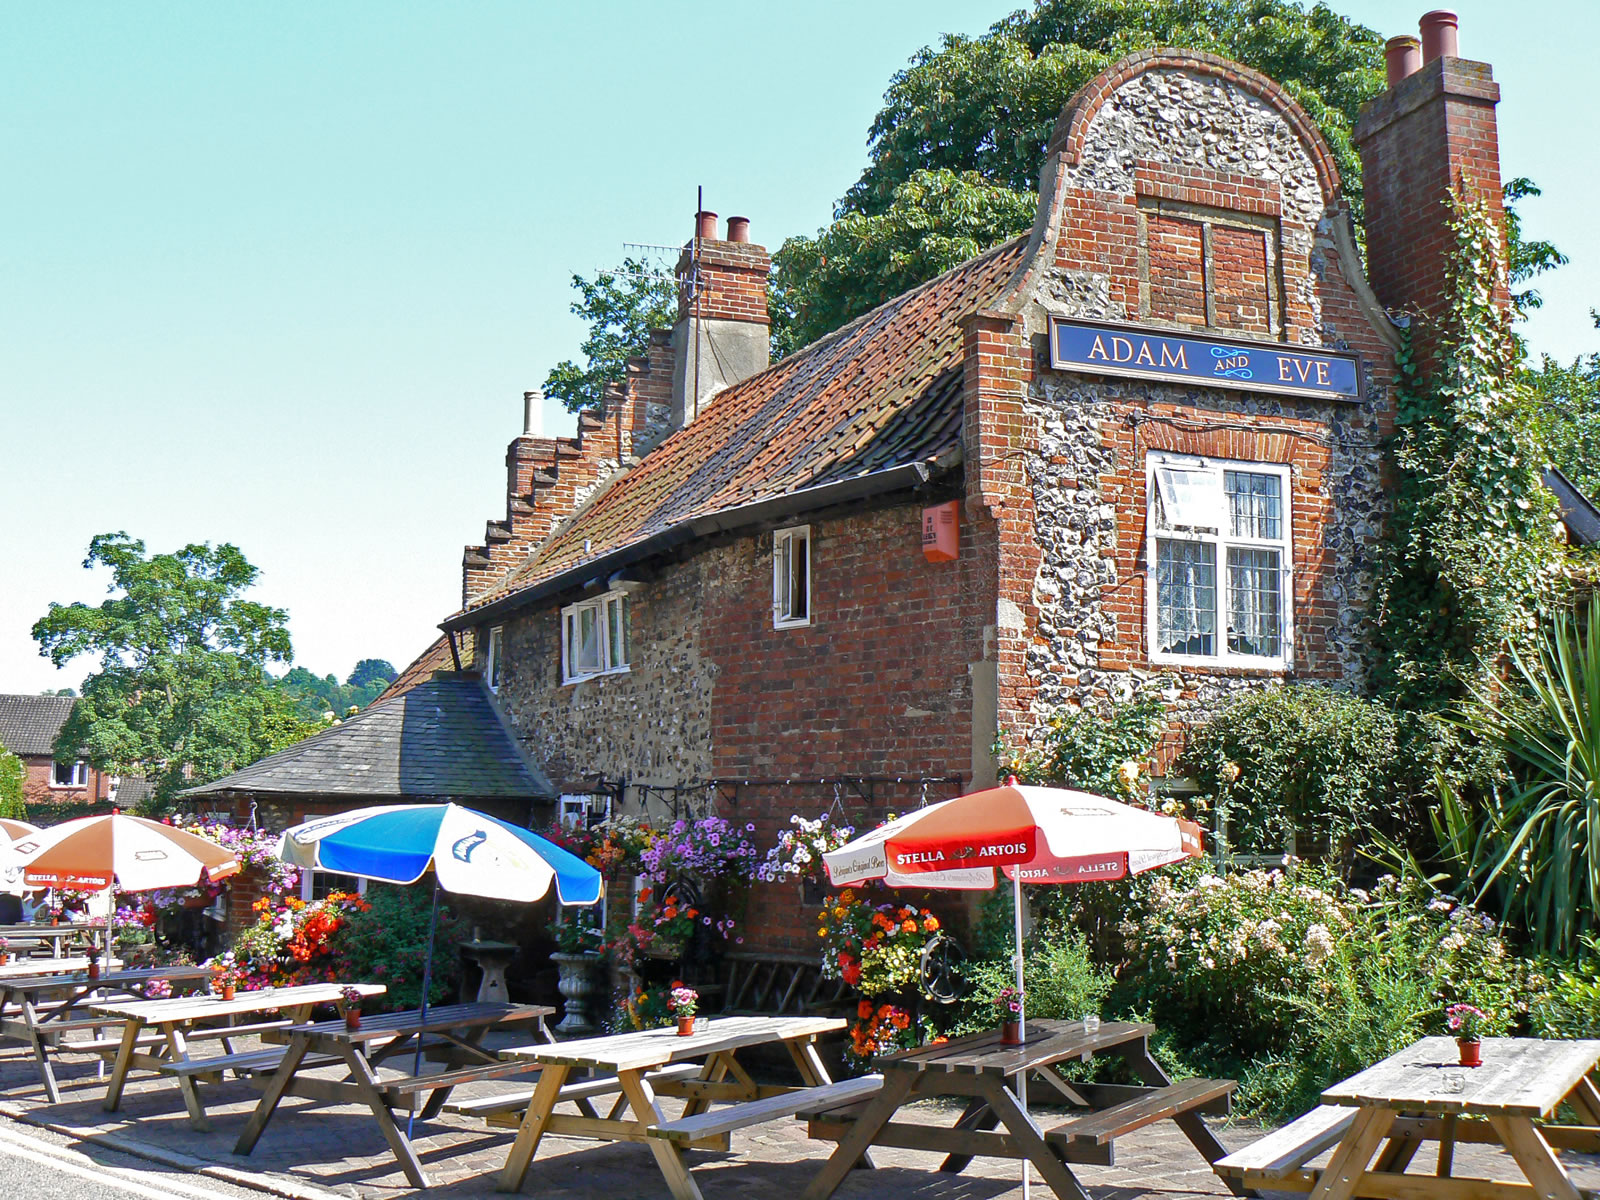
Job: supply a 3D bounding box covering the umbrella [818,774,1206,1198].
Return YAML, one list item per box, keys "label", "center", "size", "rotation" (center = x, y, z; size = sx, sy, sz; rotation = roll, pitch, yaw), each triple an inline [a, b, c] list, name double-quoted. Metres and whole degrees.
- label: "umbrella"
  center: [1.840, 3.379, 17.717]
  size: [3.078, 3.444, 3.098]
  rotation: [-3, -2, 43]
